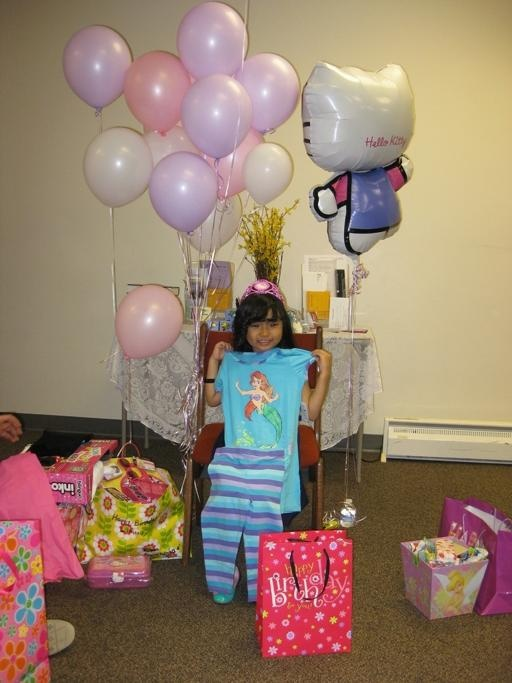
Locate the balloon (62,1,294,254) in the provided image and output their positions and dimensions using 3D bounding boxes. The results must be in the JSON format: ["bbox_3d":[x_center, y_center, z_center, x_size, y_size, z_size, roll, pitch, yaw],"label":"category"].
[{"bbox_3d":[-0.251,-0.735,1.923,0.684,0.796,0.594,3,5,33],"label":"balloon"}]

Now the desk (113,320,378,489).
[{"bbox_3d":[-0.030,0.305,2.880,1.382,0.621,1.246,-4,-23,11],"label":"desk"}]

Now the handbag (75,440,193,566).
[{"bbox_3d":[-0.427,0.583,2.020,0.383,0.403,0.372,2,27,-2],"label":"handbag"}]

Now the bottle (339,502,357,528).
[{"bbox_3d":[0.388,0.722,2.237,0.061,0.086,0.090,6,29,8],"label":"bottle"}]

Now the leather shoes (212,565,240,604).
[{"bbox_3d":[-0.102,0.759,1.693,0.041,0.131,0.053,7,-8,14],"label":"leather shoes"}]

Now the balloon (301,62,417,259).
[{"bbox_3d":[0.377,-0.667,1.936,0.503,0.687,0.326,-3,6,-43],"label":"balloon"}]

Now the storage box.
[{"bbox_3d":[-0.604,0.423,1.875,0.172,0.058,0.265,-8,14,14],"label":"storage box"}]

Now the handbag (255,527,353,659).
[{"bbox_3d":[0.126,0.683,1.426,0.244,0.299,0.107,2,0,-9],"label":"handbag"}]
